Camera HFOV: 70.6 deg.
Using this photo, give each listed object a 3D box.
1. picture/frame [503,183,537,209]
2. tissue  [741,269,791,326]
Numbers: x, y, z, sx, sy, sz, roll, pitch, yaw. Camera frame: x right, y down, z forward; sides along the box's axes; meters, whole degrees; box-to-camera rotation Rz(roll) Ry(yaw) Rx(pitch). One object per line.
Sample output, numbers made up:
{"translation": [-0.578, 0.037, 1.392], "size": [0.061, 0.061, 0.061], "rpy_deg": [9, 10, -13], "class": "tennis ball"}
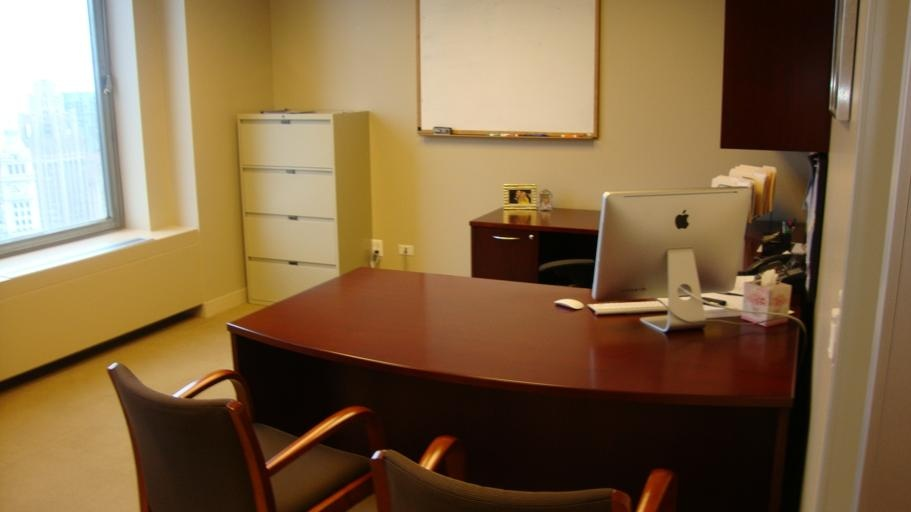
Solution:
{"translation": [0.580, -0.527, 5.738], "size": [0.240, 0.177, 0.029], "rpy_deg": [0, 1, 1], "class": "picture/frame"}
{"translation": [1.669, 0.215, 3.446], "size": [0.243, 0.245, 0.234], "rpy_deg": [5, 8, 32], "class": "tissue "}
